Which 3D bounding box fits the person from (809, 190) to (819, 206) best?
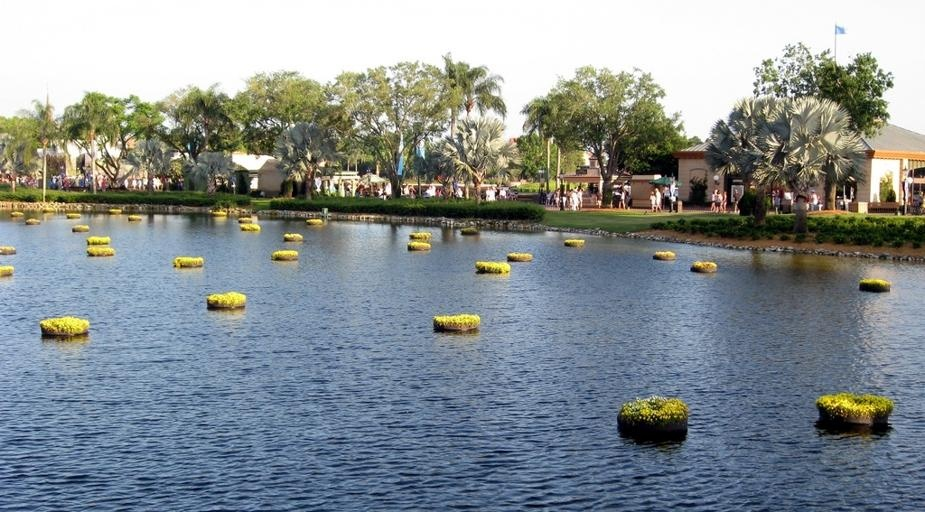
[{"bbox_3d":[24.129,-3.960,64.189,0.486,1.060,2.560,2,4,20],"label":"person"}]
